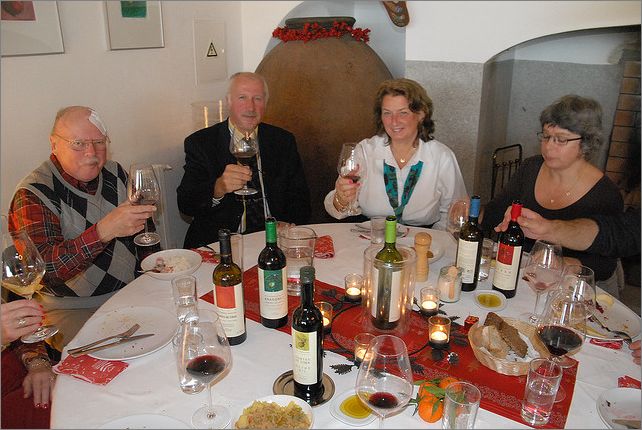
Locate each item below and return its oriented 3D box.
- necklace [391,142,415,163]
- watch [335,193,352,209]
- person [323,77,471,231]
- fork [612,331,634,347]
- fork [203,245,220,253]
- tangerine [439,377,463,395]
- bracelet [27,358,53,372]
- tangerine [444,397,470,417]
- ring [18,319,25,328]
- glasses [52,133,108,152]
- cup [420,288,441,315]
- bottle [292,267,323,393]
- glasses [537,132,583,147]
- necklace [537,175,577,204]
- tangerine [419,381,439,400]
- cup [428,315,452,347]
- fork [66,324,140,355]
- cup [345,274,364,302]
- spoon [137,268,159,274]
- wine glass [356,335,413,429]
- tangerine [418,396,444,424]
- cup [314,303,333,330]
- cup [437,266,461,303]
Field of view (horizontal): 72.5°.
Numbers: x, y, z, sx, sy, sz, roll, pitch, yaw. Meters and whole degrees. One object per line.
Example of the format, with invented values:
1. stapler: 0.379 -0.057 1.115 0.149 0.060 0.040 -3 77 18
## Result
1. necklace: 0.581 -0.441 3.082 0.123 0.167 0.046 1 4 6
2. watch: 0.134 -0.091 2.702 0.060 0.119 0.061 -6 44 -3
3. person: 0.596 -0.471 3.168 0.991 1.492 0.888 4 27 15
4. fork: 1.241 0.500 1.798 0.040 0.010 0.058 17 17 -19
5. fork: -0.590 0.181 2.338 0.026 0.028 0.182 -23 25 -28
6. tangerine: 0.447 0.582 1.508 0.051 0.051 0.051 1 -9 -15
7. bracelet: -1.320 0.689 2.038 0.066 0.020 0.065 10 9 10
8. tangerine: 0.432 0.612 1.398 0.066 0.070 0.067 0 0 -8
9. ring: -1.278 0.455 1.862 0.024 0.027 0.006 3 3 -12
10. glasses: -1.342 -0.403 2.440 0.275 0.088 0.122 -9 17 -27
11. cup: 0.468 0.368 1.897 0.103 0.116 0.103 0 5 0
12. bottle: -0.036 0.386 1.515 0.102 0.460 0.140 8 18 28
13. glasses: 1.436 -0.447 2.599 0.206 0.061 0.065 10 19 35
14. necklace: 1.472 -0.158 2.719 0.147 0.181 0.043 8 1 37
15. tangerine: 0.369 0.595 1.505 0.049 0.049 0.049 -2 0 11
16. cup: 0.461 0.454 1.763 0.103 0.116 0.104 0 8 0
17. fork: -0.865 0.494 1.793 0.294 0.055 0.085 -15 20 -33
18. cup: 0.150 0.326 1.978 0.100 0.114 0.101 0 3 0
19. spoon: -0.862 0.275 2.186 0.099 0.017 0.062 -4 7 -38
20. wine glass: 0.209 0.514 1.405 0.153 0.204 0.149 10 19 35
21. tangerine: 0.366 0.651 1.477 0.083 0.085 0.084 -7 2 3
22. cup: 0.019 0.404 1.795 0.097 0.110 0.101 0 4 0
23. cup: 0.575 0.303 1.999 0.107 0.164 0.166 4 18 13
